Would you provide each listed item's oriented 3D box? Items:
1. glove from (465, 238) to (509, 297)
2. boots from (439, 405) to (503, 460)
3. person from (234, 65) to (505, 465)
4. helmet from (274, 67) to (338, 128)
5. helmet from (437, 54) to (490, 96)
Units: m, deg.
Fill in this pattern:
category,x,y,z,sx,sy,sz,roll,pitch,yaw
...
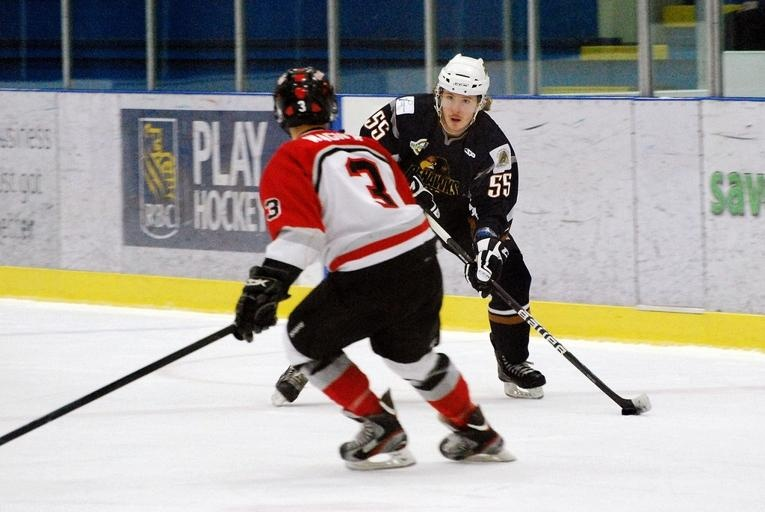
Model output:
category,x,y,z,sx,sy,sz,roll,pitch,yaw
glove,0.468,0.047,5.309,0.141,0.249,0.204,10,24,-45
boots,0.475,0.740,4.713,0.390,0.199,0.168,-4,-10,25
person,-0.076,0.199,4.600,1.057,1.400,0.266,-3,16,-6
helmet,-0.326,-0.634,4.710,0.299,0.230,0.310,-2,8,9
helmet,0.405,-0.871,5.529,0.229,0.198,0.221,7,6,5
